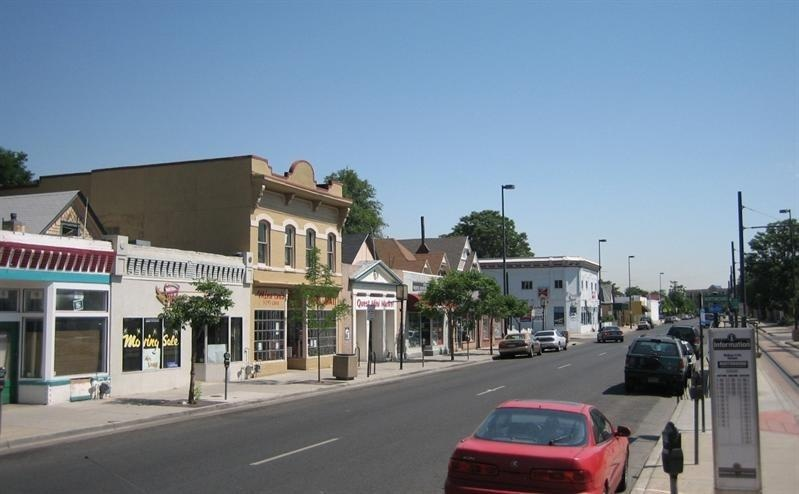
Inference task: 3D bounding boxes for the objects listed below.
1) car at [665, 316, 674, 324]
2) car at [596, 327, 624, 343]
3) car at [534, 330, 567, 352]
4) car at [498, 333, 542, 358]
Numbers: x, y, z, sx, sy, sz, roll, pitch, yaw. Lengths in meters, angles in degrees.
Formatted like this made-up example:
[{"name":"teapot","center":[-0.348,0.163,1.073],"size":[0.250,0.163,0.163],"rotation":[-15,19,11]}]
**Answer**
[{"name":"car","center":[46.578,12.700,138.339],"size":[1.423,0.815,2.532],"rotation":[-2,-4,3]},{"name":"car","center":[19.595,8.124,74.386],"size":[2.748,1.777,1.975],"rotation":[7,-13,-35]},{"name":"car","center":[11.474,6.945,60.614],"size":[1.357,1.157,3.449],"rotation":[-4,-13,14]},{"name":"car","center":[8.181,6.921,55.668],"size":[2.761,1.917,3.817],"rotation":[-8,-13,28]}]
